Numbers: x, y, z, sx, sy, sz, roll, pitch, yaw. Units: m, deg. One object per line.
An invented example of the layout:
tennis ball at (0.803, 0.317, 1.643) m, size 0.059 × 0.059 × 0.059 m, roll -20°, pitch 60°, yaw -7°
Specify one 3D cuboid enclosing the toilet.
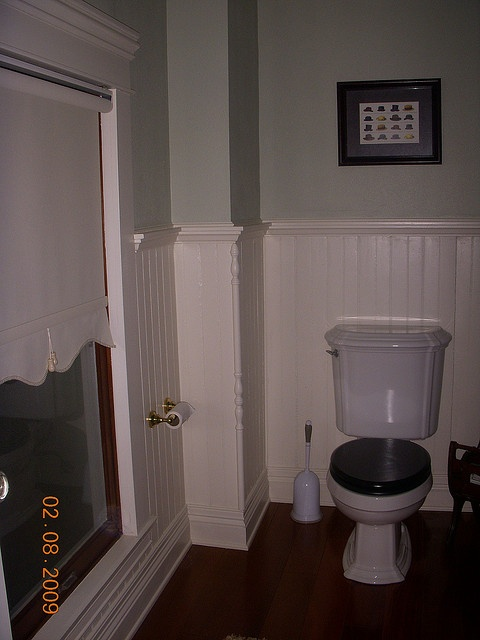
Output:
toilet at (0.615, 0.545, 2.111) m, size 0.374 × 0.923 × 0.646 m, roll 2°, pitch 10°, yaw 21°
